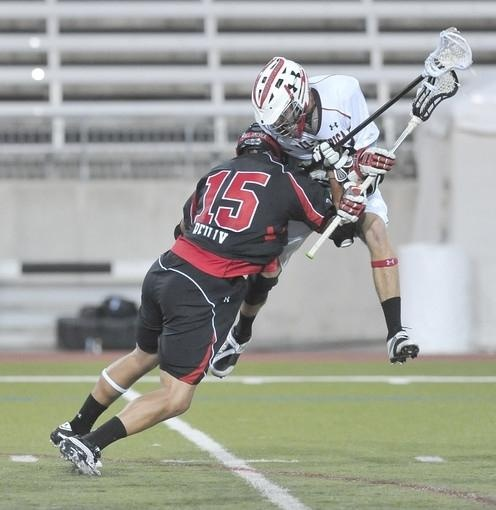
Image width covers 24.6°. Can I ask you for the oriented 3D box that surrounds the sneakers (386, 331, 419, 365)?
[{"bbox_3d":[0.872,0.545,6.680,0.105,0.136,0.281,-7,-22,-10],"label":"sneakers"}]

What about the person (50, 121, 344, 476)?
[{"bbox_3d":[-0.279,0.280,6.574,1.362,2.014,0.497,7,-5,-7],"label":"person"}]

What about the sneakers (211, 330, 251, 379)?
[{"bbox_3d":[-0.145,0.694,7.632,0.143,0.431,0.201,33,-15,-4],"label":"sneakers"}]

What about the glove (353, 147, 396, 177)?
[{"bbox_3d":[0.738,-0.546,6.837,0.168,0.091,0.218,18,10,25],"label":"glove"}]
